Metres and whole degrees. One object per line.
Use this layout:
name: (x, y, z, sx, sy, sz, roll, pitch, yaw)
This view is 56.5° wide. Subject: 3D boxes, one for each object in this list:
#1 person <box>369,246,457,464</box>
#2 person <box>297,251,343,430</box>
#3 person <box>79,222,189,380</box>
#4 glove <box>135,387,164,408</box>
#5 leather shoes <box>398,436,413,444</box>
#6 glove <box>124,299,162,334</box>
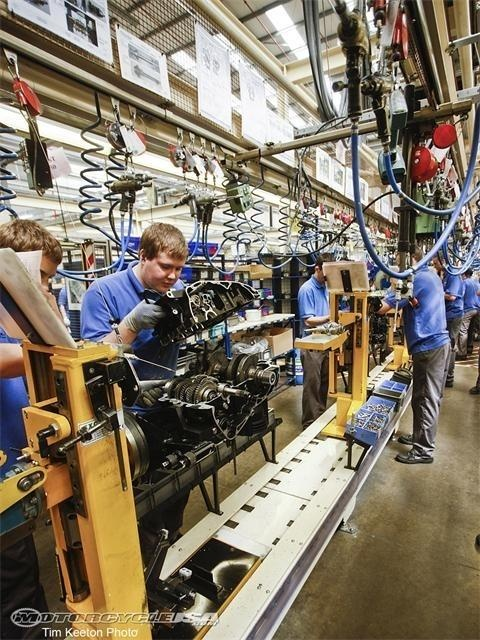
person: (1.250, 0.321, 3.074, 0.316, 1.344, 0.364, 3, 11, 24)
person: (0.607, 0.189, 3.666, 0.259, 1.420, 0.716, 1, 10, 11)
person: (-0.386, -0.081, 1.641, 0.415, 0.543, 0.788, -4, 10, -15)
glove: (-0.262, 0.222, 1.280, 0.023, 0.069, 0.074, 41, -13, -30)
leather shoes: (1.276, 0.912, 3.436, 0.055, 0.058, 0.159, 6, 9, 31)
glove: (-0.309, -0.004, 1.390, 0.084, 0.116, 0.201, -6, 11, -27)
